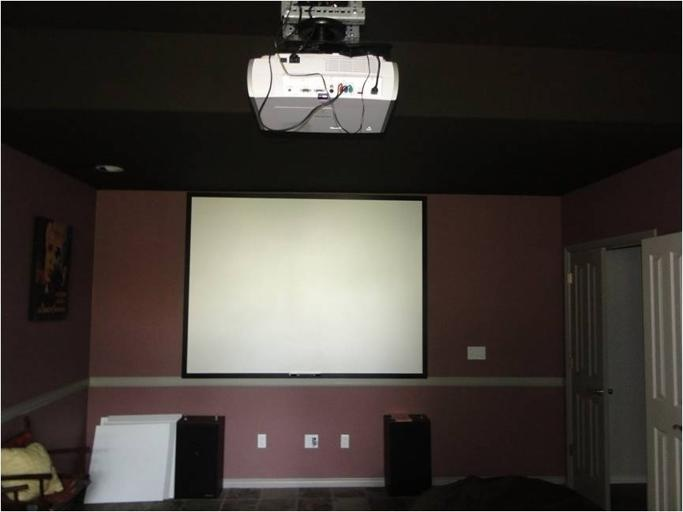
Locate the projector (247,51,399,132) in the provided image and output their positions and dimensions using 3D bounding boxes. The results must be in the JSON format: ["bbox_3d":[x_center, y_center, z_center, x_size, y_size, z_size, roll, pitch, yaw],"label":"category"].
[{"bbox_3d":[-0.140,-1.162,4.261,1.026,0.448,0.389,1,-7,-4],"label":"projector"}]

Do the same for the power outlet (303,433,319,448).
[{"bbox_3d":[-0.312,1.860,6.048,0.113,0.116,0.017,1,-11,-4],"label":"power outlet"}]

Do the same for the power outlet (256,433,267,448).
[{"bbox_3d":[-0.808,1.853,6.030,0.120,0.198,0.018,1,-13,-6],"label":"power outlet"}]

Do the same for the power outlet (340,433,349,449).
[{"bbox_3d":[0.028,1.864,6.060,0.114,0.180,0.017,1,-12,-5],"label":"power outlet"}]
